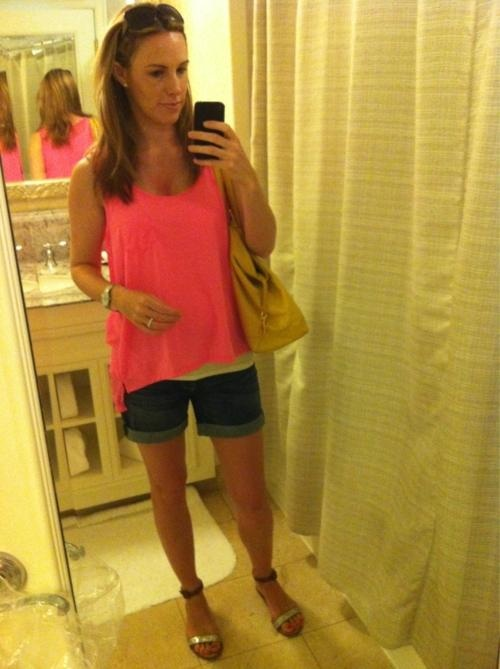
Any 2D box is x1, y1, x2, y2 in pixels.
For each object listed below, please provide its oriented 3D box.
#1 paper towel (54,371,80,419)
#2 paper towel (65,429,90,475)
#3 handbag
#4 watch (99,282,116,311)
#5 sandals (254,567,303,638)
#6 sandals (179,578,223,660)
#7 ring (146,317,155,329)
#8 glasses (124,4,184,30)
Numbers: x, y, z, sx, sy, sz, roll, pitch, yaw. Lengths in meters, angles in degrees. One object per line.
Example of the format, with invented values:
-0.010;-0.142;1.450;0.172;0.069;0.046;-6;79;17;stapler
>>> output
-0.244;0.084;0.688;0.013;0.063;0.048;-8;21;-5;paper towel
-0.236;0.162;0.707;0.019;0.054;0.039;-2;1;21;paper towel
0.023;-0.145;1.018;0.102;0.438;0.227;-19;28;1;handbag
-0.233;-0.060;0.851;0.022;0.036;0.034;17;28;-4;watch
0.058;0.501;0.947;0.037;0.041;0.104;-11;3;-14;sandals
-0.094;0.498;0.931;0.044;0.061;0.142;-6;22;-14;sandals
-0.167;-0.018;0.873;0.012;0.017;0.006;12;3;-39;ring
-0.142;-0.465;0.760;0.104;0.040;0.022;-23;27;-37;glasses
